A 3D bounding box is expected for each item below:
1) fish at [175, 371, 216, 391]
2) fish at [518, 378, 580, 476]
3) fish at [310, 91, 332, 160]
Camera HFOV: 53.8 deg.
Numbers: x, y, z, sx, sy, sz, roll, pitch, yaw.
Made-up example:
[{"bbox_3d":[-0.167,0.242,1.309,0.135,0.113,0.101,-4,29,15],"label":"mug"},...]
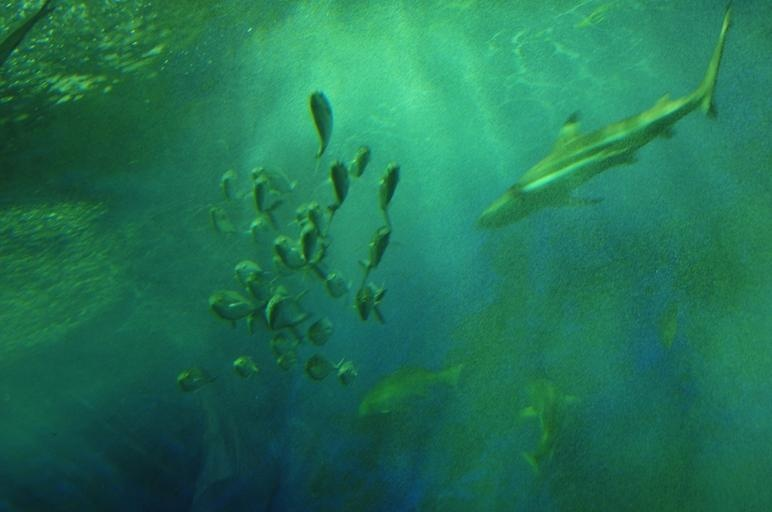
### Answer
[{"bbox_3d":[-1.141,0.737,4.517,0.156,0.128,0.079,-8,22,1],"label":"fish"},{"bbox_3d":[0.963,1.012,4.469,0.319,0.503,0.195,5,-13,33],"label":"fish"},{"bbox_3d":[-0.334,-0.630,4.062,0.124,0.493,0.077,5,22,17],"label":"fish"}]
